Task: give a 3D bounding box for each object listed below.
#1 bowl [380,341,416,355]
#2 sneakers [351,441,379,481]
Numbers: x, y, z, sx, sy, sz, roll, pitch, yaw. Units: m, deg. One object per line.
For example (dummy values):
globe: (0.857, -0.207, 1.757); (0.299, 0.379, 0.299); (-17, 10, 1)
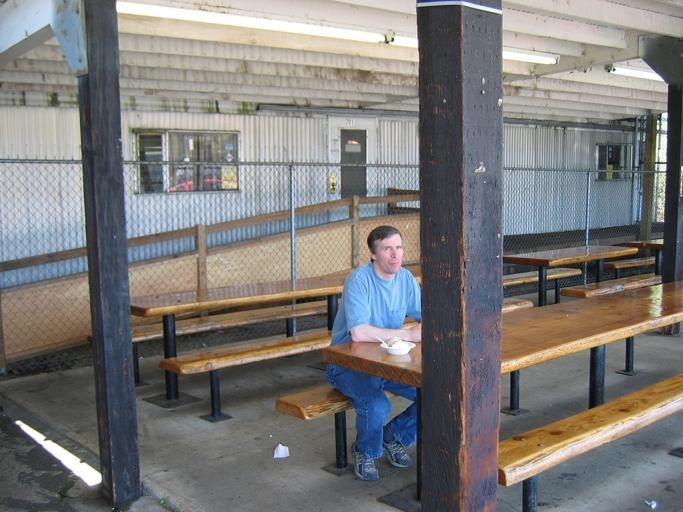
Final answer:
bowl: (0.398, 0.623, 4.244); (0.244, 0.085, 0.245); (-1, 8, 0)
sneakers: (0.185, 1.614, 4.822); (0.140, 0.139, 0.340); (-5, 17, -30)
